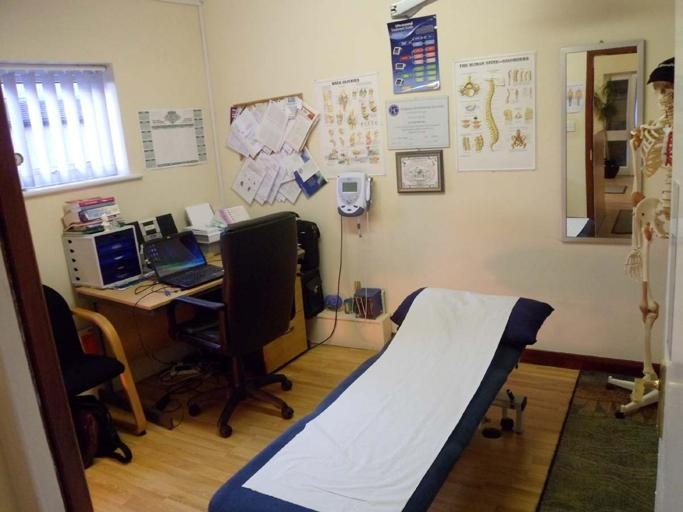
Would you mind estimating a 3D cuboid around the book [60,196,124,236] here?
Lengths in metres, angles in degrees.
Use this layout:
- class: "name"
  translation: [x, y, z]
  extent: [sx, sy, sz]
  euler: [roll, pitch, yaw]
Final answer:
- class: "book"
  translation: [-1.648, -0.273, 3.376]
  extent: [0.251, 0.173, 0.252]
  euler: [-11, 18, -35]

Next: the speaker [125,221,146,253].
- class: "speaker"
  translation: [-1.434, -0.123, 3.611]
  extent: [0.105, 0.240, 0.423]
  euler: [-11, 15, -22]

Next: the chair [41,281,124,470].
- class: "chair"
  translation: [-1.445, 0.681, 3.012]
  extent: [0.314, 0.945, 0.577]
  euler: [-13, 16, -30]

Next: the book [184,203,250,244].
- class: "book"
  translation: [-1.003, -0.263, 3.938]
  extent: [0.471, 0.181, 0.361]
  euler: [10, 26, 23]

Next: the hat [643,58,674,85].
- class: "hat"
  translation: [1.539, -0.881, 2.463]
  extent: [0.097, 0.116, 0.223]
  euler: [4, 17, 33]

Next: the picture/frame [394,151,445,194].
- class: "picture/frame"
  translation: [0.585, -0.617, 3.729]
  extent: [0.288, 0.272, 0.031]
  euler: [4, 14, 26]

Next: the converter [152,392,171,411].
- class: "converter"
  translation: [-1.192, 0.987, 3.421]
  extent: [0.029, 0.088, 0.130]
  euler: [-18, 32, 36]

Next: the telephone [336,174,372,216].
- class: "telephone"
  translation: [0.099, -0.470, 3.876]
  extent: [0.295, 0.411, 0.151]
  euler: [1, 0, 22]

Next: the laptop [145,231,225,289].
- class: "laptop"
  translation: [-1.031, 0.039, 3.452]
  extent: [0.412, 0.295, 0.452]
  euler: [13, 22, 23]

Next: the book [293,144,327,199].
- class: "book"
  translation: [-0.251, -0.663, 4.125]
  extent: [0.286, 0.381, 0.046]
  euler: [3, 16, 31]

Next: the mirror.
- class: "mirror"
  translation: [1.588, -0.713, 3.167]
  extent: [0.503, 1.388, 0.068]
  euler: [3, -14, 17]

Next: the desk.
- class: "desk"
  translation: [-1.025, 0.854, 3.772]
  extent: [0.857, 1.181, 1.729]
  euler: [7, 19, 24]
